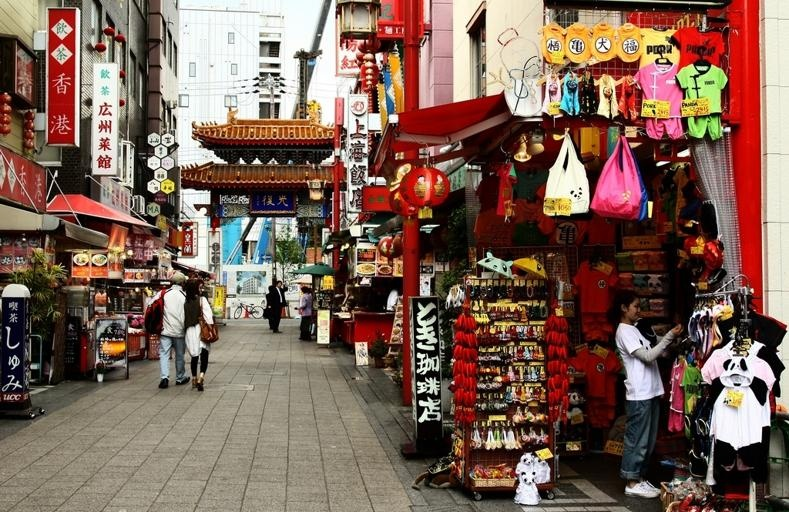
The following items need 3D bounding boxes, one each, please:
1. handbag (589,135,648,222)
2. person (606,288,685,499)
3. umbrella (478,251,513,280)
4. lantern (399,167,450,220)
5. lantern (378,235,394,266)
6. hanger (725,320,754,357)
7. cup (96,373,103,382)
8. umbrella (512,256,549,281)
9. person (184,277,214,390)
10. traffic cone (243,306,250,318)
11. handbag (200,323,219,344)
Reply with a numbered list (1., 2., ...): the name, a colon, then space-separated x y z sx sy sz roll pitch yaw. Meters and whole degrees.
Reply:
1. handbag: 3.108 -1.078 12.534 0.752 1.125 0.336 0 -3 11
2. person: 3.510 1.951 12.868 0.729 2.825 0.421 0 -3 14
3. umbrella: 1.438 0.134 12.956 0.535 0.367 0.382 0 -2 17
4. lantern: 0.495 -1.109 15.737 0.831 0.881 0.448 1 -2 7
5. lantern: -0.231 -0.179 23.842 0.557 0.726 0.573 3 1 18
6. hanger: 4.387 1.039 11.456 0.272 0.447 0.258 -1 -3 32
7. cup: -6.462 2.685 19.910 0.147 0.199 0.155 -2 -9 0
8. umbrella: 1.930 0.179 12.965 0.493 0.301 0.340 1 -2 8
9. person: -4.179 1.660 19.256 0.714 2.339 0.698 0 -3 19
10. traffic cone: -9.451 3.691 58.051 0.454 0.810 0.476 2 -3 -8
11. handbag: -3.950 1.655 19.293 0.289 0.475 0.415 1 -2 6
